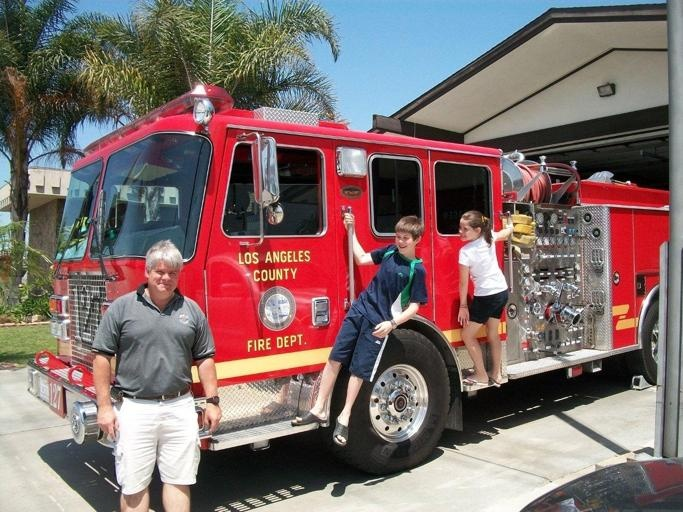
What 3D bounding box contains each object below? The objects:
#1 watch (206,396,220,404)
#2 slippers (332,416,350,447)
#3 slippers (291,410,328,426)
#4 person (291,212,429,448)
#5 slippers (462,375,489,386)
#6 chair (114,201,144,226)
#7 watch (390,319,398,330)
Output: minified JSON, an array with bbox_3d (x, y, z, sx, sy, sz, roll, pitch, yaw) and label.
[{"bbox_3d":[-0.920,1.030,3.817,0.080,0.057,0.084,-5,-3,23],"label":"watch"},{"bbox_3d":[-0.008,1.569,4.694,0.152,0.310,0.216,-1,1,-1],"label":"slippers"},{"bbox_3d":[-0.264,1.397,4.596,0.317,0.124,0.118,6,-10,-23],"label":"slippers"},{"bbox_3d":[0.242,0.612,4.782,1.064,2.007,0.447,-1,1,-5],"label":"person"},{"bbox_3d":[1.413,1.292,5.577,0.124,0.061,0.226,-8,-15,43],"label":"slippers"},{"bbox_3d":[-1.805,-0.359,4.554,0.224,0.226,0.241,-3,5,-22],"label":"chair"},{"bbox_3d":[0.458,0.616,4.767,0.051,0.077,0.082,-3,7,-9],"label":"watch"}]
